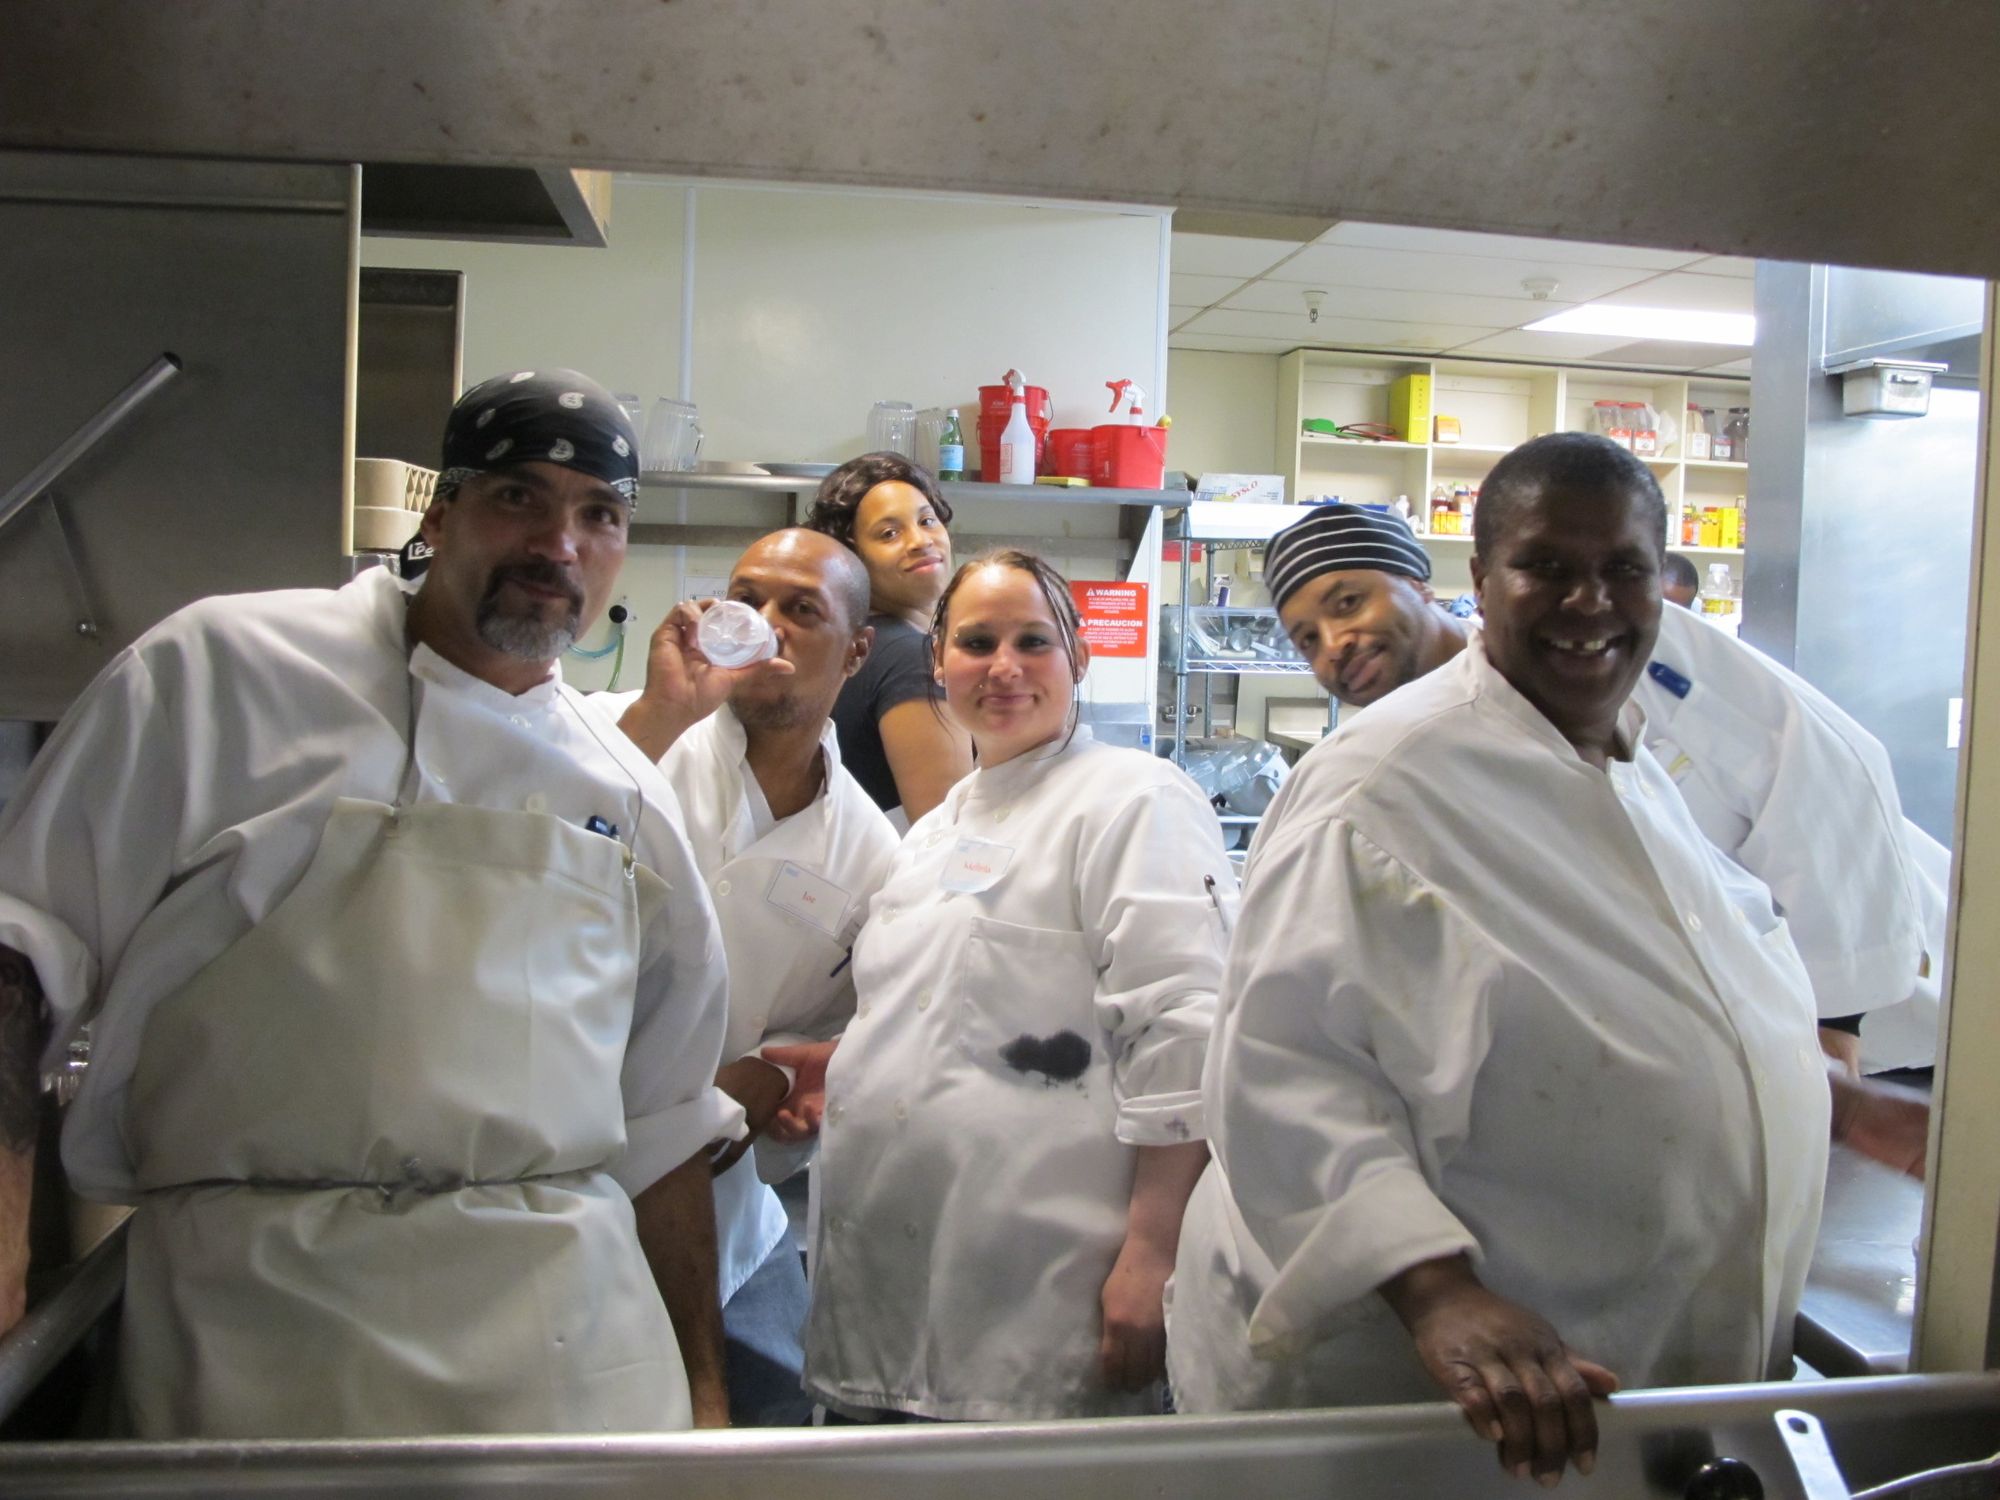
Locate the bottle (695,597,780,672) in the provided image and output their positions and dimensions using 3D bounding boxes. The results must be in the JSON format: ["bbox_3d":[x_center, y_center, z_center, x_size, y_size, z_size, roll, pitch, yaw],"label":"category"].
[{"bbox_3d":[-0.345,-0.154,2.304,0.088,0.088,0.068,4,2,-1],"label":"bottle"}]

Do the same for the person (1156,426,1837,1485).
[{"bbox_3d":[0.487,0.215,1.638,0.651,1.015,0.569,1,7,5],"label":"person"}]

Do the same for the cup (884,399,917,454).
[{"bbox_3d":[-0.282,-0.846,4.646,0.120,0.127,0.074,0,7,-3],"label":"cup"}]

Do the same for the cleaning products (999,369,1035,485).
[{"bbox_3d":[0.044,-0.829,4.577,0.090,0.289,0.131,0,7,1],"label":"cleaning products"}]

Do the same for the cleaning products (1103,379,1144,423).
[{"bbox_3d":[0.331,-0.924,4.680,0.110,0.117,0.177,0,8,3],"label":"cleaning products"}]

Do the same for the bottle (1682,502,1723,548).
[{"bbox_3d":[2.991,-0.941,7.612,0.210,0.226,0.162,2,0,4],"label":"bottle"}]
